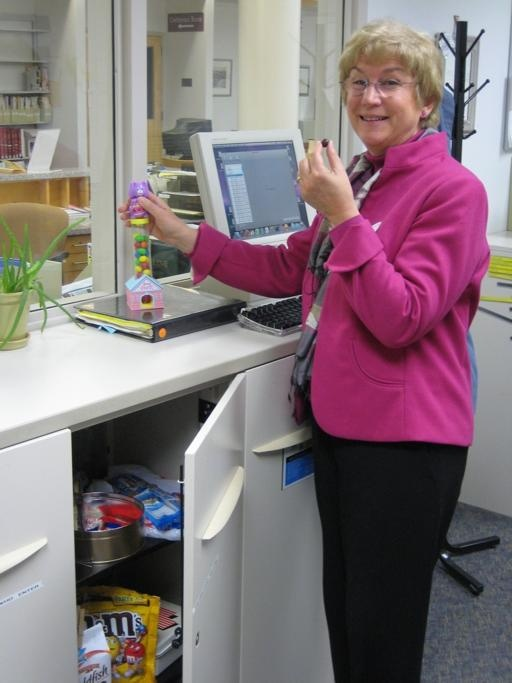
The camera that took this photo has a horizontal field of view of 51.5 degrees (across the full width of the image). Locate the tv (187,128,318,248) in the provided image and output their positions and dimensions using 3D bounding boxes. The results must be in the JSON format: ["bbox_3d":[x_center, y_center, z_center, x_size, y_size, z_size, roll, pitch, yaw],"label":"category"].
[{"bbox_3d":[-0.004,-0.397,1.385,0.040,0.301,0.387,-1,12,37],"label":"tv"}]

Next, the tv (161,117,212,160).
[{"bbox_3d":[-0.240,-0.652,1.776,0.173,0.164,0.171,-14,23,-32],"label":"tv"}]
